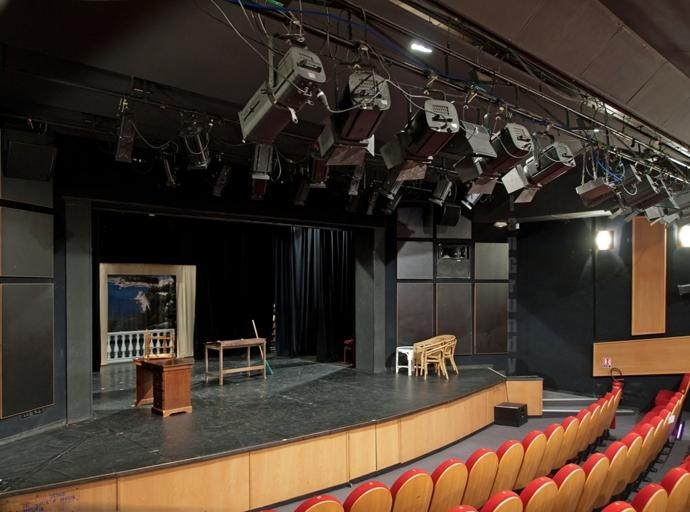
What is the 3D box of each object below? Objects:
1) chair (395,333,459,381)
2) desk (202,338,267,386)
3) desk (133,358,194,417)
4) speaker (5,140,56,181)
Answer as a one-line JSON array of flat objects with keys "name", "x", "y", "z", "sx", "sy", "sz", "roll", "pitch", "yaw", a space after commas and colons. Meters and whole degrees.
[{"name": "chair", "x": 1.580, "y": 1.829, "z": 9.278, "sx": 0.795, "sy": 0.625, "sz": 0.813, "roll": 2, "pitch": -8, "yaw": -4}, {"name": "desk", "x": -1.910, "y": 1.829, "z": 8.915, "sx": 0.446, "sy": 0.802, "sz": 1.122, "roll": -5, "pitch": -8, "yaw": 33}, {"name": "desk", "x": -2.578, "y": 1.824, "z": 7.104, "sx": 0.908, "sy": 0.675, "sz": 0.483, "roll": -2, "pitch": -4, "yaw": 40}, {"name": "speaker", "x": -3.760, "y": -1.104, "z": 6.038, "sx": 0.439, "sy": 0.433, "sz": 0.303, "roll": 6, "pitch": 28, "yaw": -33}]
